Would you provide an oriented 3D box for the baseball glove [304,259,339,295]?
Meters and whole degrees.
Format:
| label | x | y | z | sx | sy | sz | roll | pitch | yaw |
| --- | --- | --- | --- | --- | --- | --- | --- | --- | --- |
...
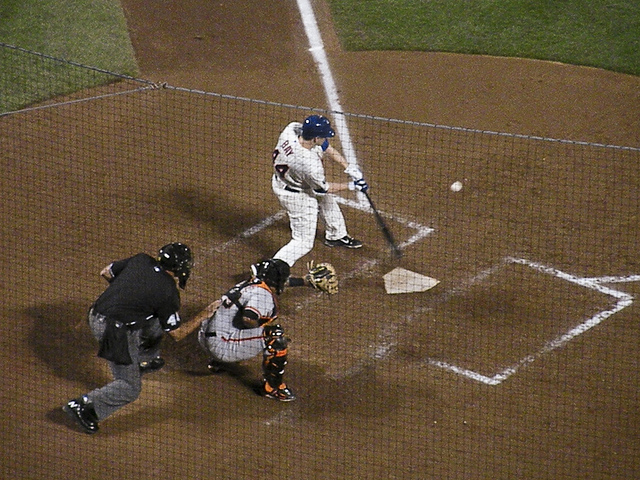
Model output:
| label | x | y | z | sx | sy | sz | roll | pitch | yaw |
| --- | --- | --- | --- | --- | --- | --- | --- | --- | --- |
| baseball glove | 0.038 | 0.618 | 14.992 | 0.346 | 0.481 | 0.525 | -27 | 57 | -25 |

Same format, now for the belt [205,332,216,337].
| label | x | y | z | sx | sy | sz | roll | pitch | yaw |
| --- | --- | --- | --- | --- | --- | --- | --- | --- | --- |
| belt | -1.518 | 1.322 | 13.728 | 0.188 | 0.039 | 0.067 | -2 | 87 | 5 |

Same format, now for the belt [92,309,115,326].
| label | x | y | z | sx | sy | sz | roll | pitch | yaw |
| --- | --- | --- | --- | --- | --- | --- | --- | --- | --- |
| belt | -2.816 | 1.049 | 12.916 | 0.215 | 0.207 | 0.058 | 33 | 83 | -21 |

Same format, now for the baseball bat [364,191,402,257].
| label | x | y | z | sx | sy | sz | roll | pitch | yaw |
| --- | --- | --- | --- | --- | --- | --- | --- | --- | --- |
| baseball bat | 1.028 | -0.204 | 16.075 | 0.214 | 0.193 | 1.254 | -29 | 70 | -16 |
